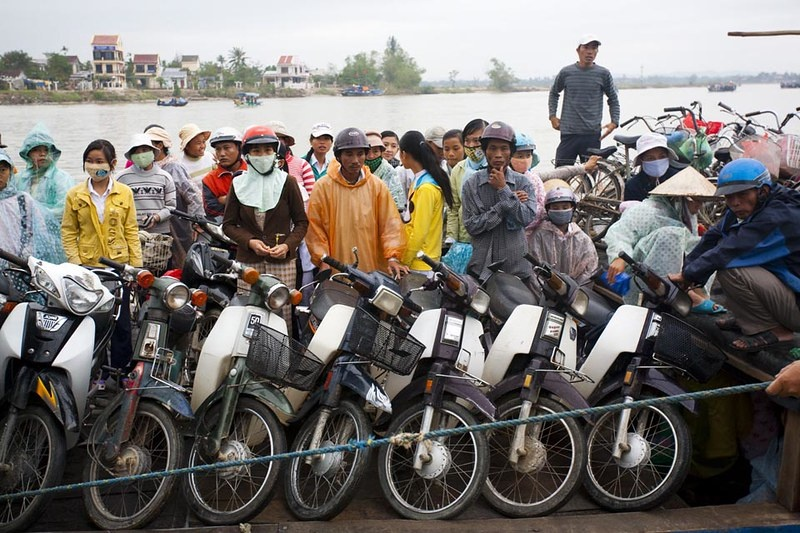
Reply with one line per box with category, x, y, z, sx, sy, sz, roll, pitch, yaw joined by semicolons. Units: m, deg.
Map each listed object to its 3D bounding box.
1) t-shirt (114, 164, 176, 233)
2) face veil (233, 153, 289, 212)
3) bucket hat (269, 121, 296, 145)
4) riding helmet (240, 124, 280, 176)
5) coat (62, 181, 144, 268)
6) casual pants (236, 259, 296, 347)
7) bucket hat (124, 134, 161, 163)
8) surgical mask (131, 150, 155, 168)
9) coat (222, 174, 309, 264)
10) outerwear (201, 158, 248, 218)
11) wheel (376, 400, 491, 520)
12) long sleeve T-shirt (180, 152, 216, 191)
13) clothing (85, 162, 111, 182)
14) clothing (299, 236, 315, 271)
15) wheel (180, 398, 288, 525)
t-shirt;-2.640;-0.697;7.437;0.678;0.796;0.455;-5;13;-24
face veil;-1.219;-0.728;6.450;0.486;0.464;0.324;-5;-1;-1
bucket hat;-1.375;-1.579;8.503;0.351;0.192;0.355;6;-6;17
riding helmet;-1.243;-1.070;6.296;0.320;0.409;0.409;-2;8;-14
coat;-2.798;-0.382;6.722;0.814;0.919;0.488;-1;6;-18
casual pants;-1.224;0.312;6.452;0.420;0.332;0.638;-16;-16;-20
bucket hat;-2.743;-1.245;7.529;0.278;0.145;0.278;-24;-6;29
surgical mask;-2.688;-1.123;7.529;0.184;0.147;0.181;-3;24;-7
coat;-1.210;-0.428;6.467;0.793;0.738;0.452;1;16;-2
outerwear;-1.876;-0.807;7.519;0.413;0.469;0.757;0;-3;-5
wheel;0.230;1.422;5.307;0.822;0.823;0.280;-6;-7;34
long sleeve T-shirt;-2.315;-1.072;8.206;0.482;0.454;0.245;-13;18;-35
clothing;-2.814;-0.891;6.690;0.150;0.116;0.179;1;10;-3
clothing;-0.909;-0.116;7.040;0.202;0.274;0.108;1;-12;-26
wheel;-1.224;1.430;5.300;0.757;0.814;0.265;11;-15;30
